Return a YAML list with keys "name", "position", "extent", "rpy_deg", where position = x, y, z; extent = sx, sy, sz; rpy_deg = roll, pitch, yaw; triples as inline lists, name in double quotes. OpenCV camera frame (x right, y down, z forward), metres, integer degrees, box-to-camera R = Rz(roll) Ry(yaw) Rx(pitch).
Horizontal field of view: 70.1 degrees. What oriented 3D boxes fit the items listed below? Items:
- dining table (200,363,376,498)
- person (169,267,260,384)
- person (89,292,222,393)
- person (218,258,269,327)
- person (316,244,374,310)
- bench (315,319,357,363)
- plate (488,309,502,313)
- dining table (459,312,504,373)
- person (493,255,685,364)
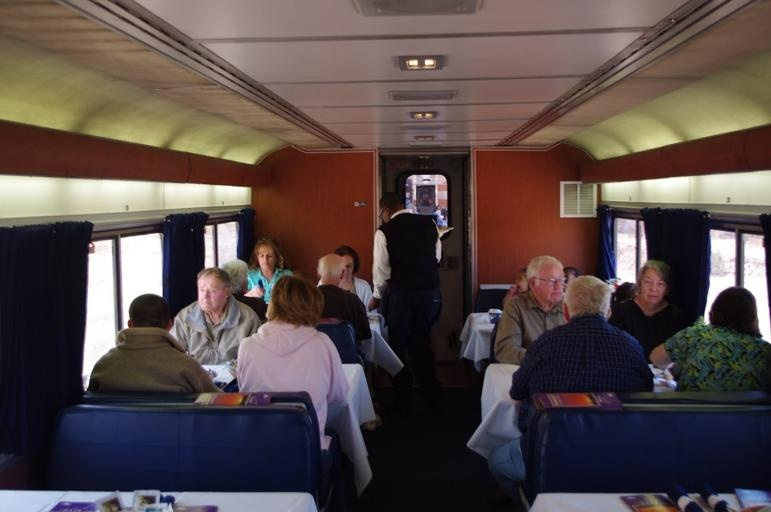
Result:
- name: "dining table"
  position: [-0.469, 1.551, 5.489]
  extent: [1.457, 0.751, 1.502]
  rpy_deg: [1, 15, 8]
- name: "person"
  position: [-1.877, 0.988, 6.031]
  extent: [1.032, 1.467, 0.639]
  rpy_deg: [0, 5, -15]
- name: "person"
  position: [-1.966, 0.748, 4.583]
  extent: [1.054, 0.832, 0.579]
  rpy_deg: [-1, -8, -4]
- name: "person"
  position: [-1.708, 0.443, 6.943]
  extent: [0.748, 0.807, 0.724]
  rpy_deg: [1, -7, 12]
- name: "person"
  position: [-0.533, 0.272, 7.306]
  extent: [0.677, 1.078, 0.416]
  rpy_deg: [-15, -7, -3]
- name: "bench"
  position: [-0.478, 0.918, 5.944]
  extent: [0.387, 0.490, 0.471]
  rpy_deg: [-2, 4, 8]
- name: "plate"
  position: [1.545, 0.796, 7.834]
  extent: [0.160, 0.061, 0.173]
  rpy_deg: [0, -4, -15]
- name: "dining table"
  position: [1.242, 1.139, 7.542]
  extent: [0.725, 0.462, 0.977]
  rpy_deg: [2, 11, 4]
- name: "person"
  position: [2.107, 0.596, 5.831]
  extent: [1.784, 0.435, 1.187]
  rpy_deg: [1, 7, 5]
